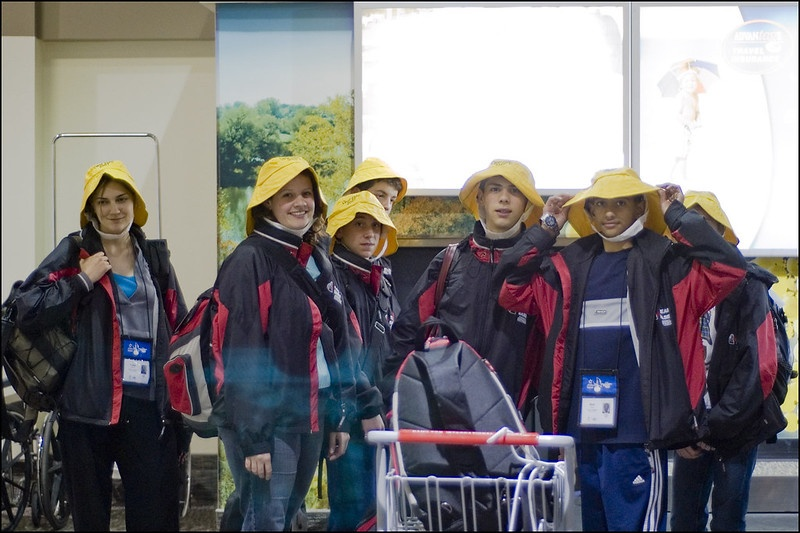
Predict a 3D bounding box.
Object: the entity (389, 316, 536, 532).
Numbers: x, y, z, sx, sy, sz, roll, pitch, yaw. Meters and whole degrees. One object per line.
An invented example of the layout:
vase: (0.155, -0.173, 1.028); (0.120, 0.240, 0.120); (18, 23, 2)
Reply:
entity: (0.356, 1.018, 6.595); (0.790, 1.157, 0.415); (-10, -14, -14)

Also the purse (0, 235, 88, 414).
purse: (-2.573, 0.534, 7.402); (0.507, 0.963, 0.266); (2, -8, -24)

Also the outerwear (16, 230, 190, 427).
outerwear: (-2.099, 0.400, 7.656); (1.407, 1.310, 0.549); (-1, 4, -39)

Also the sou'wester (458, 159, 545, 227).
sou'wester: (0.782, -0.640, 7.902); (0.719, 0.456, 0.904); (10, -7, 5)

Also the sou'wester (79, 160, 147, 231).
sou'wester: (-2.123, -0.521, 7.737); (0.385, 0.380, 0.595); (-7, -23, -9)

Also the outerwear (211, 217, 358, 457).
outerwear: (-0.806, 0.452, 7.222); (0.801, 1.509, 1.203); (0, 1, 30)

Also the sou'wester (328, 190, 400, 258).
sou'wester: (-0.300, -0.331, 7.681); (0.462, 0.312, 0.502); (11, -34, -14)

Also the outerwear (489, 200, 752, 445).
outerwear: (1.521, 0.428, 7.173); (1.521, 1.375, 0.749); (-3, -19, 13)

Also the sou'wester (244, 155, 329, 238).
sou'wester: (-0.799, -0.522, 7.144); (0.525, 0.479, 0.449); (-8, 12, -40)

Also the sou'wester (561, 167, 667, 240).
sou'wester: (1.541, -0.508, 7.287); (0.482, 0.231, 0.639); (-8, -27, 26)

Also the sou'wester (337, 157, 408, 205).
sou'wester: (-0.175, -0.709, 8.119); (0.366, 0.225, 0.358); (-19, -34, 27)

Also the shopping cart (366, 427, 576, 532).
shopping cart: (0.420, 1.227, 6.555); (0.988, 0.658, 0.696); (-1, 8, -1)
